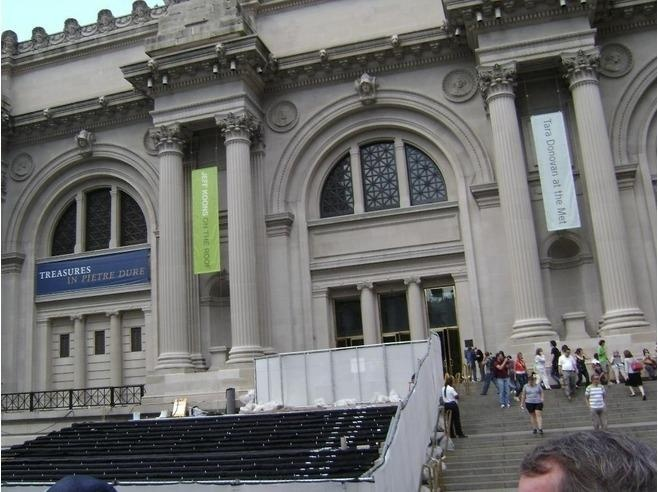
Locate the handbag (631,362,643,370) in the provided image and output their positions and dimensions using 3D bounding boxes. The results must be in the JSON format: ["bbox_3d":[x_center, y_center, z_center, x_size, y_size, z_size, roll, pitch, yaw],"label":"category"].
[{"bbox_3d":[10.151,3.934,26.562,0.268,0.269,0.270,-7,-25,19],"label":"handbag"}]

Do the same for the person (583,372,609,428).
[{"bbox_3d":[7.657,4.410,23.039,0.512,1.514,1.162,-9,-15,16],"label":"person"}]

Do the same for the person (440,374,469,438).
[{"bbox_3d":[3.765,4.857,24.485,0.573,1.911,1.565,-7,-14,7],"label":"person"}]
